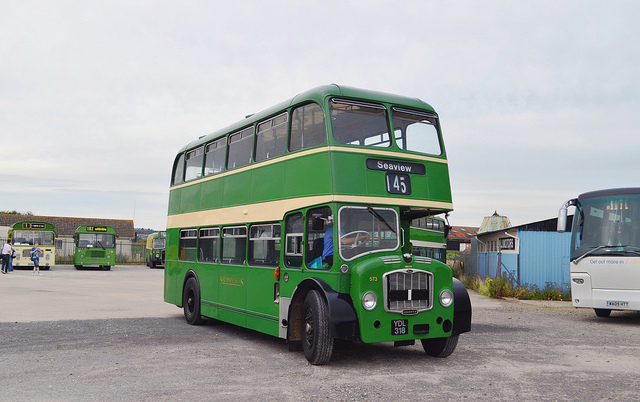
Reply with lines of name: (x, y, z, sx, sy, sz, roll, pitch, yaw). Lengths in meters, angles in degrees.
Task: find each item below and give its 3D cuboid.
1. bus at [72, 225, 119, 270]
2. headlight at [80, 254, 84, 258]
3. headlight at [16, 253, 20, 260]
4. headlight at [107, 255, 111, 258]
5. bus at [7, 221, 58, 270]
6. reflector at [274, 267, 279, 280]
bus: (-23.005, 4.588, 47.900, 3.796, 4.183, 8.083, 4, -5, -29)
headlight: (-22.159, 5.102, 44.018, 0.286, 0.297, 0.145, 5, -6, -16)
headlight: (-26.481, 4.790, 41.403, 0.236, 0.582, 0.093, 1, 0, -33)
headlight: (-19.945, 5.199, 44.620, 0.283, 0.293, 0.154, 1, 7, -5)
bus: (-25.433, 3.649, 41.850, 3.168, 3.070, 6.147, 2, 0, -27)
reflector: (-1.077, 1.796, 11.831, 0.173, 0.299, 0.041, 0, 0, 40)
